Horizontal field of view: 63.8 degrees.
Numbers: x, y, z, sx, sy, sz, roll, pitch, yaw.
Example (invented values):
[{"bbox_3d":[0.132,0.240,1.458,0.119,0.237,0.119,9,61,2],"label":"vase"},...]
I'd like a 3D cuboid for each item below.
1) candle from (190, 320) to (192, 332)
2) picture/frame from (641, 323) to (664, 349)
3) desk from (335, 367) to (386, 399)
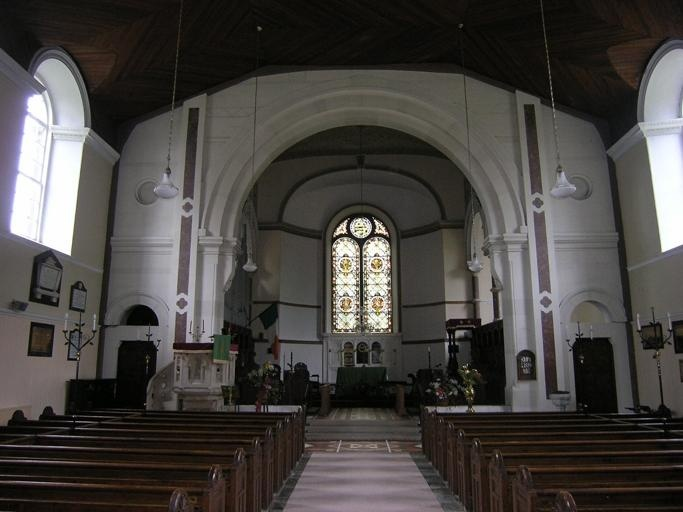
[{"bbox_3d":[-3.759,1.765,13.717,0.051,0.282,0.015,3,-13,-17],"label":"candle"},{"bbox_3d":[6.580,1.703,11.642,0.319,0.709,0.660,4,-8,5],"label":"picture/frame"},{"bbox_3d":[0.687,4.603,19.989,1.785,1.080,0.473,0,-12,-1],"label":"desk"}]
